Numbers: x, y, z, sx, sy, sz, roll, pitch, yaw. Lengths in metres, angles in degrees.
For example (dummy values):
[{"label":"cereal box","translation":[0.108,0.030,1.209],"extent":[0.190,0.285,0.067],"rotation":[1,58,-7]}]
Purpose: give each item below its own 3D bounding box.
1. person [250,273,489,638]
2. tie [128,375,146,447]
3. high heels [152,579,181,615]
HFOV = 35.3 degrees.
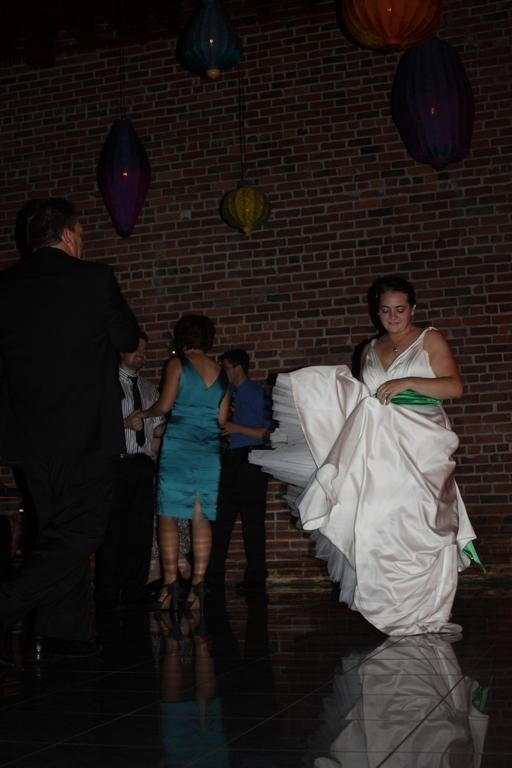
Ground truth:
[{"label":"person","translation":[0.507,0.311,3.704],"extent":[0.944,1.580,0.474],"rotation":[-2,-10,0]},{"label":"tie","translation":[-0.699,0.160,4.724],"extent":[0.097,0.410,0.116],"rotation":[-5,-5,0]},{"label":"high heels","translation":[-0.481,1.191,4.449],"extent":[0.114,0.125,0.282],"rotation":[-2,-39,-1]}]
